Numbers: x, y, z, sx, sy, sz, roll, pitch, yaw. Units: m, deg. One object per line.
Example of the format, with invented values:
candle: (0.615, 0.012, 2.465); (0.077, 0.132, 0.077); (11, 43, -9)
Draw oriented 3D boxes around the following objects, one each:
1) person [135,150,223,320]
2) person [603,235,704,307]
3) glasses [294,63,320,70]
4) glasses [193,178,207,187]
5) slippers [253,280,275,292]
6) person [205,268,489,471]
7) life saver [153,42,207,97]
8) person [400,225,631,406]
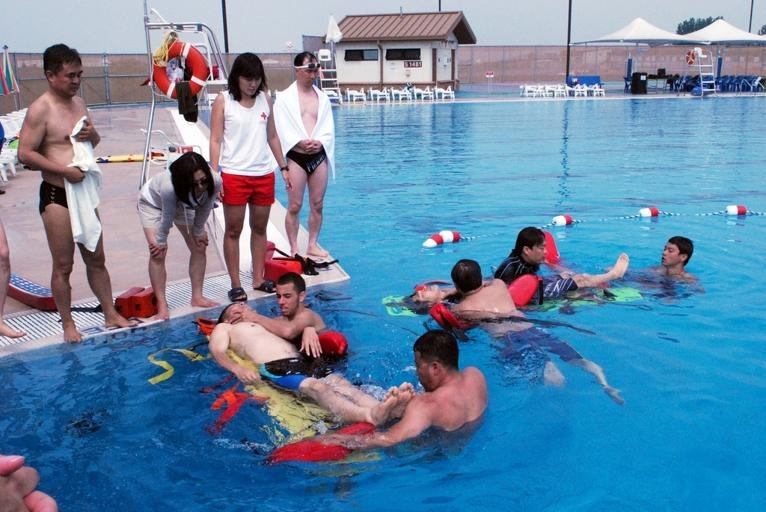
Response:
person: (-1.968, -0.182, 5.538); (0.942, 1.688, 0.623); (13, 21, 39)
person: (3.204, 0.158, 6.477); (1.154, 0.567, 0.720); (-3, 11, -18)
glasses: (-0.901, -2.262, 6.733); (0.150, 0.040, 0.124); (0, 8, 13)
glasses: (-1.658, -0.651, 5.064); (0.071, 0.062, 0.019); (-7, 57, -12)
slippers: (-1.337, 0.351, 6.310); (0.265, 0.073, 0.105); (4, 13, 38)
person: (-0.426, 0.800, 4.548); (1.486, 0.937, 2.155); (-15, 21, -42)
life saver: (-2.633, -2.423, 7.308); (0.647, 0.744, 0.769); (-10, 19, -31)
person: (1.429, 0.560, 5.660); (1.823, 0.641, 1.458); (11, 44, 29)
